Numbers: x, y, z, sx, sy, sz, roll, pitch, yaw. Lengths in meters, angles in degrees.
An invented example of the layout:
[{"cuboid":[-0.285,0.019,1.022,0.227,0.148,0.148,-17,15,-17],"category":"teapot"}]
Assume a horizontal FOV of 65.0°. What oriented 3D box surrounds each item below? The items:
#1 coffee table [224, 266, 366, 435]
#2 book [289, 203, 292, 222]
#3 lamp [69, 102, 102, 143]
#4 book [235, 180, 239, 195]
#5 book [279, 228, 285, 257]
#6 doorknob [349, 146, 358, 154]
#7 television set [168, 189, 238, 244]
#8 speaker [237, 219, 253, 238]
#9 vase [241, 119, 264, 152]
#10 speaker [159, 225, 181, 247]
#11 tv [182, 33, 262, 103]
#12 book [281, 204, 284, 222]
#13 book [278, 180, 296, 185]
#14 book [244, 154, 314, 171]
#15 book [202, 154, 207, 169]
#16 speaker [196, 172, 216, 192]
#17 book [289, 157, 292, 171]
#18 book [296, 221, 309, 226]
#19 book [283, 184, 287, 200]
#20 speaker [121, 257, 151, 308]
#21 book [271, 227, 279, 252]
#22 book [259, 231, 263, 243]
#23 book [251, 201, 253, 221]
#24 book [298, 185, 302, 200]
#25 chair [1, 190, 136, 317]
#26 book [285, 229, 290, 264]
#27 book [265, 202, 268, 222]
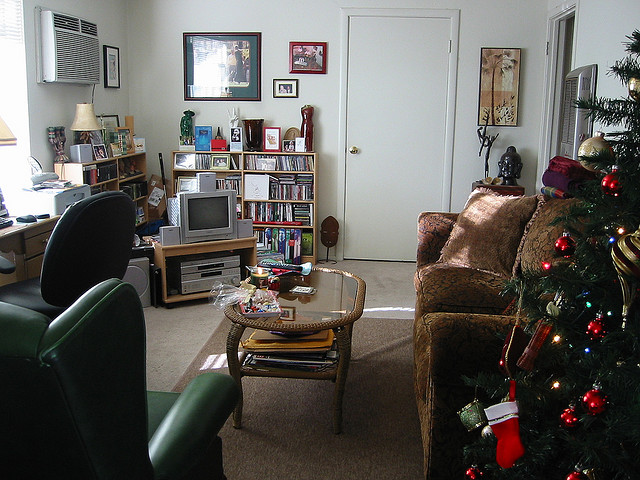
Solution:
[{"cuboid":[-0.115,0.537,2.903,0.674,0.582,1.202,2,11,4],"category":"coffee table"},{"cuboid":[-0.302,-0.289,5.203,0.029,0.168,0.029,-1,13,-11],"category":"book"},{"cuboid":[-2.024,-1.009,4.330,0.220,0.328,0.278,-6,15,-27],"category":"lamp"},{"cuboid":[-0.858,-0.552,5.222,0.036,0.151,0.019,-7,15,-33],"category":"book"},{"cuboid":[-0.389,0.011,5.156,0.051,0.252,0.062,0,13,-5],"category":"book"},{"cuboid":[0.349,-0.940,5.244,0.085,0.072,0.023,1,13,0],"category":"doorknob"},{"cuboid":[-0.937,-0.183,4.074,0.416,0.367,0.456,-2,4,-17],"category":"television set"},{"cuboid":[-0.597,-0.113,4.150,0.159,0.172,0.122,0,14,-6],"category":"speaker"},{"cuboid":[-0.688,-1.074,5.240,0.225,0.324,0.257,-2,0,23],"category":"vase"},{"cuboid":[-1.126,-0.043,3.852,0.189,0.194,0.138,-2,13,-16],"category":"speaker"},{"cuboid":[-0.991,-1.827,5.223,0.658,0.554,0.028,1,10,-2],"category":"tv"},{"cuboid":[-0.386,-0.285,5.200,0.026,0.173,0.023,-2,13,-15],"category":"book"},{"cuboid":[-0.338,-0.593,5.156,0.178,0.036,0.035,4,13,9],"category":"book"},{"cuboid":[-0.433,-0.796,5.235,0.540,0.185,0.167,1,4,-2],"category":"book"},{"cuboid":[-1.191,-0.818,5.214,0.041,0.146,0.023,-2,13,-15],"category":"book"},{"cuboid":[-0.899,-0.462,3.974,0.128,0.151,0.213,-4,14,-19],"category":"speaker"},{"cuboid":[-0.299,-0.785,5.147,0.026,0.126,0.012,0,13,-7],"category":"book"},{"cuboid":[-0.180,-0.179,5.194,0.079,0.045,0.055,0,2,5],"category":"book"},{"cuboid":[-0.357,-0.498,5.161,0.039,0.152,0.020,-1,13,-7],"category":"book"},{"cuboid":[-1.413,0.319,3.885,0.220,0.374,0.227,1,13,2],"category":"speaker"},{"cuboid":[-0.461,-0.001,5.166,0.079,0.228,0.081,-2,13,-12],"category":"book"},{"cuboid":[-0.605,-0.037,5.197,0.057,0.109,0.108,1,4,0],"category":"book"},{"cuboid":[-0.704,-0.324,5.221,0.015,0.162,0.030,-2,13,-15],"category":"book"},{"cuboid":[-0.204,-0.495,5.166,0.038,0.147,0.012,0,13,-5],"category":"book"},{"cuboid":[-1.236,0.055,2.434,0.506,0.655,0.530,10,13,19],"category":"chair"},{"cuboid":[-0.336,0.056,5.172,0.045,0.330,0.074,0,13,-4],"category":"book"},{"cuboid":[-0.554,-0.295,5.208,0.027,0.191,0.035,1,13,2],"category":"book"}]
